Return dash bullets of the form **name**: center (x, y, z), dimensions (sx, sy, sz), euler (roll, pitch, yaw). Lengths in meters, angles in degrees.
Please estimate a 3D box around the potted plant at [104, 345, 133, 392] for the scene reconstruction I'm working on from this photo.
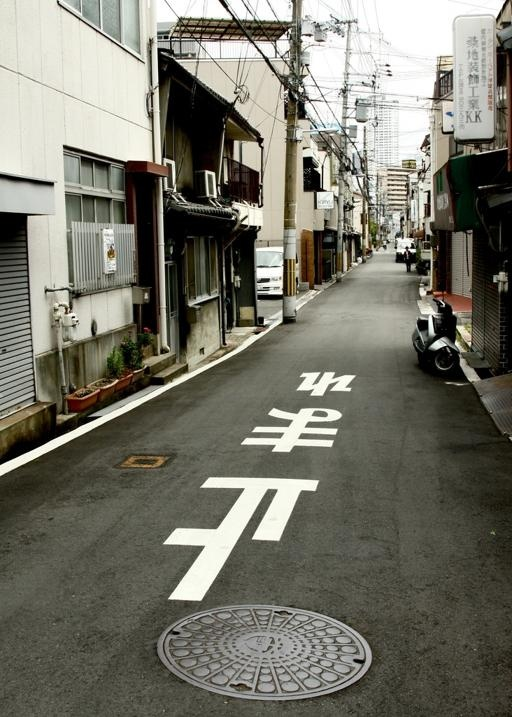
- **potted plant**: center (-2.274, 0.207, 11.470), dimensions (0.355, 1.032, 0.698), euler (1, 8, 7)

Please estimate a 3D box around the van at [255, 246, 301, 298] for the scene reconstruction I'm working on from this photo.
- **van**: center (0.720, -4.469, 36.218), dimensions (1.277, 2.629, 4.123), euler (0, 5, 0)

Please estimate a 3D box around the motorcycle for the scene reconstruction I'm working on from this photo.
- **motorcycle**: center (3.558, -0.442, 13.775), dimensions (0.807, 1.434, 1.571), euler (0, 5, 11)

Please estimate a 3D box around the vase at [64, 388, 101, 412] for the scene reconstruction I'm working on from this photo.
- **vase**: center (-2.491, 0.627, 9.966), dimensions (0.285, 0.269, 0.730), euler (0, 6, 7)

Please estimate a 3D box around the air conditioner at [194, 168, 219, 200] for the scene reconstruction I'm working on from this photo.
- **air conditioner**: center (-1.338, -4.586, 18.810), dimensions (0.479, 1.273, 1.089), euler (0, 6, 12)
